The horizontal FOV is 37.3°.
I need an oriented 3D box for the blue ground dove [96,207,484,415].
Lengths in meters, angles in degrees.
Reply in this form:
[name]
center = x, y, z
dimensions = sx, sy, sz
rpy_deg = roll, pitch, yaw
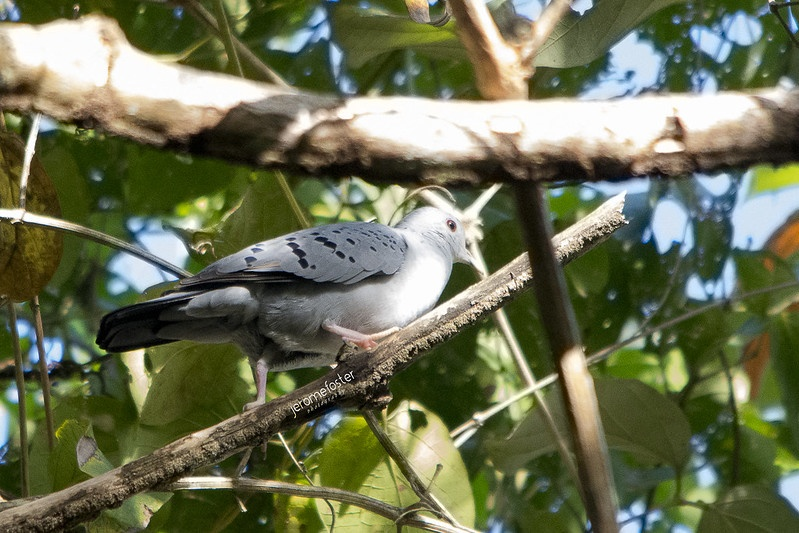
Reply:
[blue ground dove]
center = -0.343, 0.165, 4.570
dimensions = 1.521, 0.529, 0.479
rpy_deg = -8, 30, -27
